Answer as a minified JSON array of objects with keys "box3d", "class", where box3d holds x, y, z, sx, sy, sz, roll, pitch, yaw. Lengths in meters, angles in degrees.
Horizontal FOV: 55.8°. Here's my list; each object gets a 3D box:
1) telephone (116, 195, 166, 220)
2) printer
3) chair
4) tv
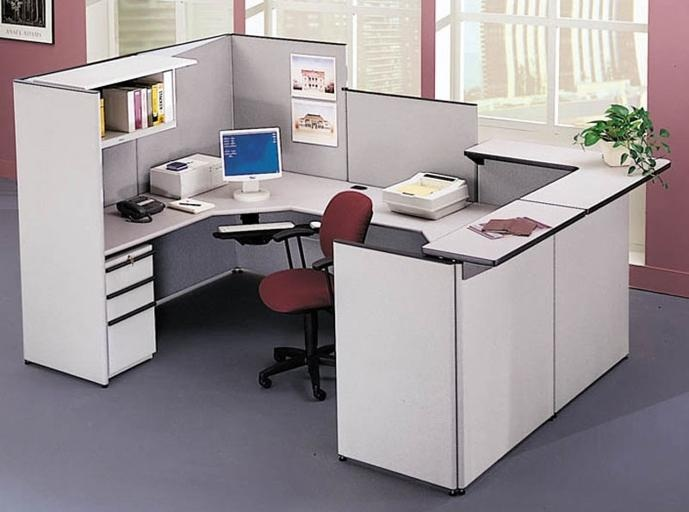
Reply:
[{"box3d":[-1.342,-0.325,4.341,0.205,0.074,0.204,23,34,36],"class":"telephone"},{"box3d":[0.573,-0.409,4.293,0.390,0.178,0.377,13,24,38],"class":"printer"},{"box3d":[-0.206,0.226,4.020,0.682,1.155,0.737,-5,17,-13],"class":"chair"},{"box3d":[-0.672,-0.658,4.659,0.517,0.587,0.325,-4,4,-10],"class":"tv"}]
